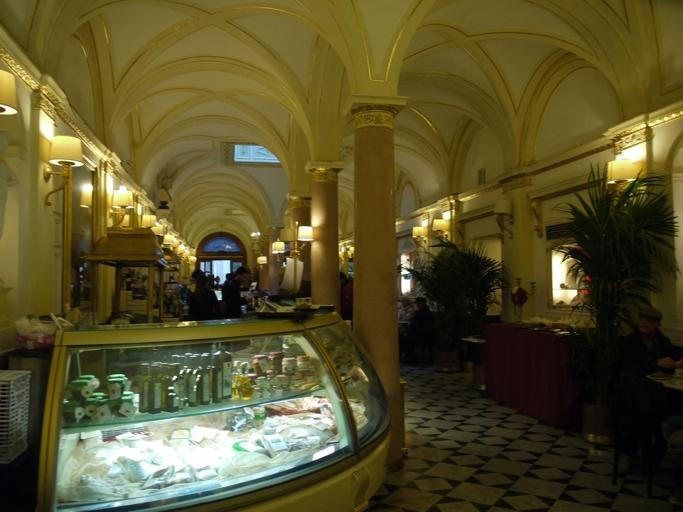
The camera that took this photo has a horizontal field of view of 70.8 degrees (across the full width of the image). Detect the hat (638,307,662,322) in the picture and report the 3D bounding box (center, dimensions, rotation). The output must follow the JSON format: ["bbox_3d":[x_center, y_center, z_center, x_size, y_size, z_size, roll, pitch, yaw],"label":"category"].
[{"bbox_3d":[3.281,0.623,5.088,0.196,0.069,0.148,8,3,-20],"label":"hat"}]

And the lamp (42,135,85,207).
[{"bbox_3d":[-3.249,-1.003,5.622,0.374,0.814,0.760,0,12,-30],"label":"lamp"}]
